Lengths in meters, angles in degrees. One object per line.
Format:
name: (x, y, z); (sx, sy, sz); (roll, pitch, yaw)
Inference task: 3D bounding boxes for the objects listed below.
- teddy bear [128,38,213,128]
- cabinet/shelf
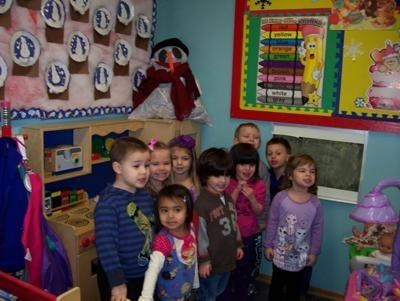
teddy bear: (-0.261, -0.630, 2.844); (0.701, 0.763, 0.267); (1, 4, -1)
cabinet/shelf: (-0.562, 0.368, 1.901); (0.410, 1.090, 1.092); (5, 11, 30)
